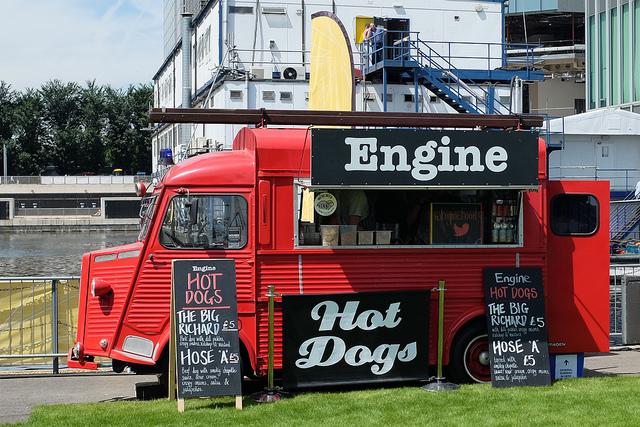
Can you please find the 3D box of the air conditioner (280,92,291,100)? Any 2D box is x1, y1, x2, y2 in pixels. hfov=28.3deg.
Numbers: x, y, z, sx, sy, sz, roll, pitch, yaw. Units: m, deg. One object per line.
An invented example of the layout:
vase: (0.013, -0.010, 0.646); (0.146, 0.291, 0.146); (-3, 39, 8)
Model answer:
air conditioner: (-1.900, -6.352, 67.734); (0.608, 0.427, 0.336); (1, 1, 0)

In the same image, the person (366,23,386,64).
person: (2.925, -8.700, 65.578); (0.993, 2.510, 0.818); (-13, -27, 14)
